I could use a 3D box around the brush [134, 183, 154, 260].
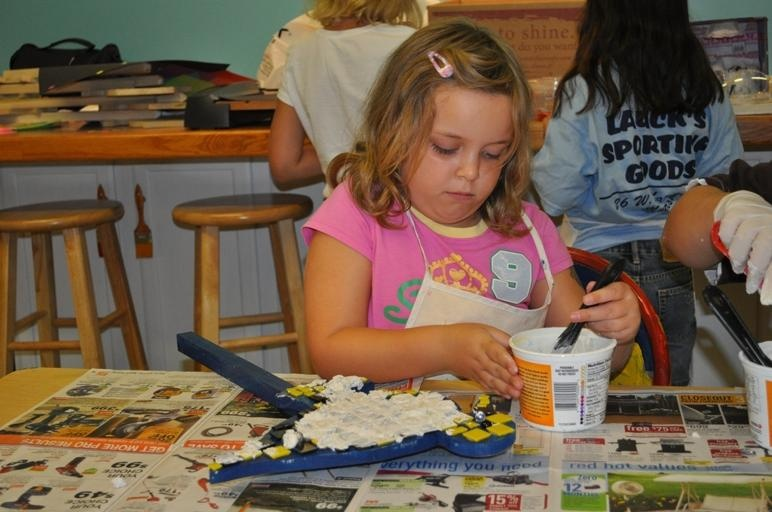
[{"bbox_3d":[-1.028,-0.145,2.741,0.101,0.311,0.022,-1,6,24],"label":"brush"}]

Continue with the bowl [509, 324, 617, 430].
[{"bbox_3d":[0.322,0.242,1.192,0.184,0.125,0.188,0,-7,0],"label":"bowl"}]

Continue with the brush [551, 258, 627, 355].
[{"bbox_3d":[0.418,0.108,1.343,0.304,0.052,0.040,-44,33,-27],"label":"brush"}]
